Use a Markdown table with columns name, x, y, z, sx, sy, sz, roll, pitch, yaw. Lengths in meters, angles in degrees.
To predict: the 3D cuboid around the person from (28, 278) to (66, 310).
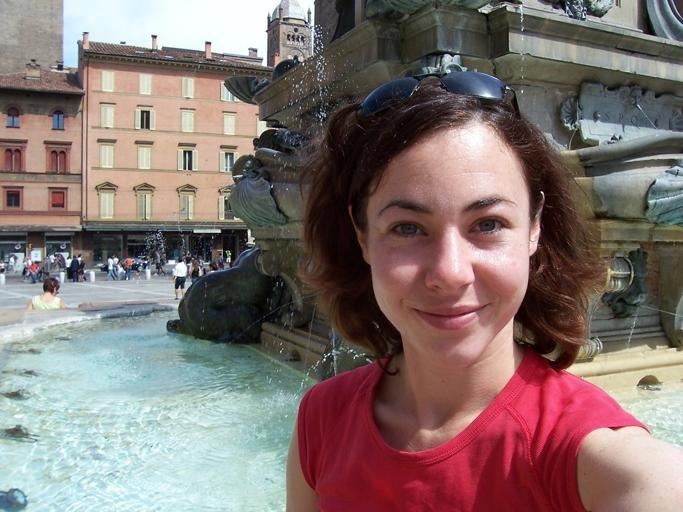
| name | x | y | z | sx | sy | sz | roll | pitch | yaw |
| --- | --- | --- | --- | --- | --- | --- | --- | --- | --- |
| person | -7.190 | 0.852 | 13.230 | 0.650 | 1.080 | 0.562 | 10 | 18 | -9 |
